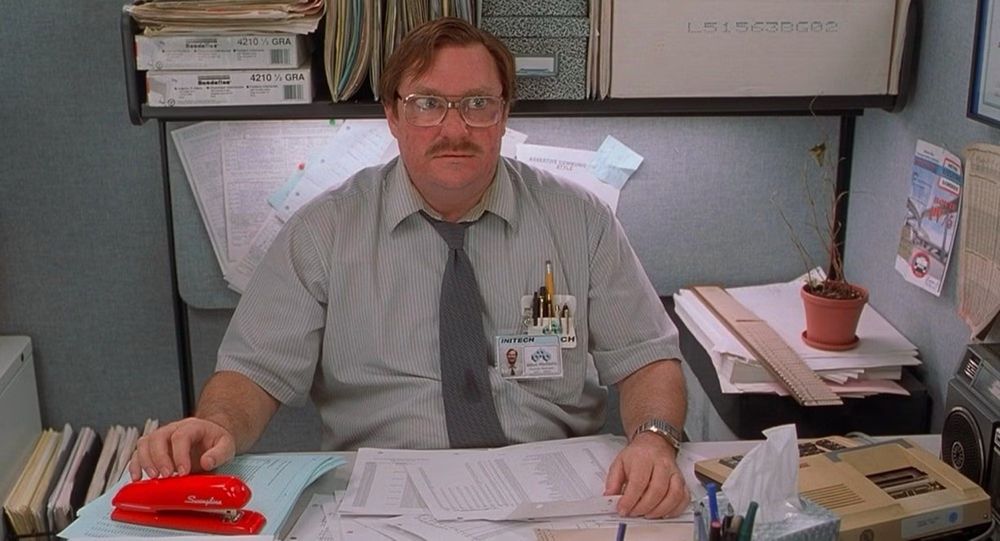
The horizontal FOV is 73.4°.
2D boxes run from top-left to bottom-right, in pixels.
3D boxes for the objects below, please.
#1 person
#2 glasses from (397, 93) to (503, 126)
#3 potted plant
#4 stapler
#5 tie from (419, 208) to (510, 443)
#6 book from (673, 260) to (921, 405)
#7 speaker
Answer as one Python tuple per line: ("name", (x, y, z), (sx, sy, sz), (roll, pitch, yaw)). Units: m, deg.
("person", (-0.141, 0.164, 2.219), (1.151, 1.698, 0.936), (-1, 8, -3))
("glasses", (-0.143, -0.455, 1.926), (0.300, 0.091, 0.221), (2, 13, 3))
("potted plant", (1.057, -0.158, 2.264), (0.263, 0.863, 0.265), (5, 3, 16))
("stapler", (-0.718, 0.541, 1.586), (0.361, 0.115, 0.093), (-2, 12, 8))
("tie", (-0.101, 0.191, 1.917), (0.193, 0.559, 0.197), (1, 3, 0))
("book", (0.930, 0.166, 2.189), (0.427, 0.394, 0.681), (2, 3, 38))
("speaker", (1.175, 0.401, 1.692), (0.045, 0.232, 0.155), (-6, 12, -8))
